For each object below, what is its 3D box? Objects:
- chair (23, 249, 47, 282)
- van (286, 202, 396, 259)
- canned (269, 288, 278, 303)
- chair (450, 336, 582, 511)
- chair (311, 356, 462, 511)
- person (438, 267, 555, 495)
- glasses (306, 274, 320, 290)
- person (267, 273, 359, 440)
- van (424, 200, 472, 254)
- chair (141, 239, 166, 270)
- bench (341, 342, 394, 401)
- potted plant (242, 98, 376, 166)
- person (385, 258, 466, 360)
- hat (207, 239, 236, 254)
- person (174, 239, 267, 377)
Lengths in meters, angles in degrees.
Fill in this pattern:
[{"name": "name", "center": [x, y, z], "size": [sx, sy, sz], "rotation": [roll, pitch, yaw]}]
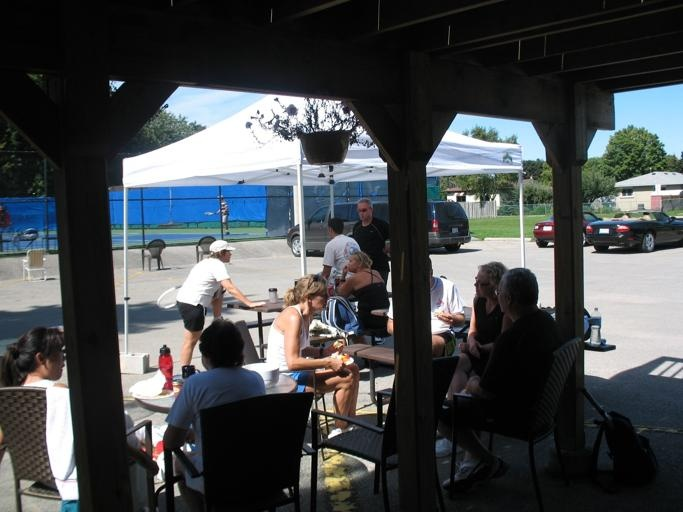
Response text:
[{"name": "chair", "center": [-9.206, 0.313, 18.010], "size": [0.716, 1.217, 0.769], "rotation": [-2, 7, -33]}, {"name": "van", "center": [-0.517, -0.929, 20.625], "size": [3.336, 1.611, 1.685], "rotation": [6, 10, 42]}, {"name": "canned", "center": [-0.910, 0.515, 8.003], "size": [0.130, 0.221, 0.163], "rotation": [0, 7, -1]}, {"name": "chair", "center": [1.563, 1.202, 5.159], "size": [1.130, 1.783, 1.006], "rotation": [1, 0, 31]}, {"name": "chair", "center": [0.328, 1.321, 4.367], "size": [1.075, 1.193, 0.966], "rotation": [-4, 4, 0]}, {"name": "person", "center": [1.250, 0.997, 4.737], "size": [0.942, 1.917, 0.846], "rotation": [1, 8, 27]}, {"name": "glasses", "center": [-0.250, 0.219, 5.262], "size": [0.079, 0.121, 0.111], "rotation": [1, 4, -4]}, {"name": "person", "center": [-0.247, 0.922, 5.459], "size": [0.777, 1.525, 0.640], "rotation": [-1, 8, 5]}, {"name": "van", "center": [3.492, -1.029, 19.863], "size": [2.138, 1.246, 1.164], "rotation": [6, 10, 33]}, {"name": "chair", "center": [-6.238, -0.018, 19.874], "size": [0.738, 1.151, 0.792], "rotation": [-4, 11, -32]}, {"name": "bench", "center": [0.384, 1.228, 6.060], "size": [0.378, 0.434, 0.666], "rotation": [4, -11, 39]}, {"name": "potted plant", "center": [-0.367, -1.355, 6.481], "size": [0.797, 0.810, 1.605], "rotation": [-6, 5, -32]}, {"name": "person", "center": [0.876, 0.507, 6.223], "size": [0.703, 1.113, 0.569], "rotation": [-5, -16, 19]}, {"name": "hat", "center": [-1.572, -0.121, 7.905], "size": [0.342, 0.192, 0.257], "rotation": [-3, 6, -27]}, {"name": "person", "center": [-1.627, 0.684, 7.850], "size": [1.020, 1.803, 0.812], "rotation": [-1, 7, -20]}]
